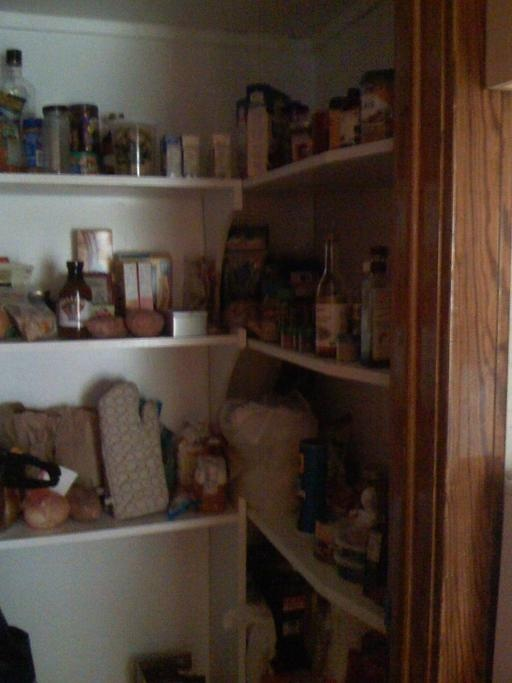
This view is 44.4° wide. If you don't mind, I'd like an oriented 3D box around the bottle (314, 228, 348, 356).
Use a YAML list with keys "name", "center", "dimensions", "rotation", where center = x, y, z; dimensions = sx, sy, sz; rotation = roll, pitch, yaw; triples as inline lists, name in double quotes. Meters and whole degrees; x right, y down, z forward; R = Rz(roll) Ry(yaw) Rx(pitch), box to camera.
- name: "bottle"
  center: [0.117, -0.077, 1.055]
  dimensions: [0.039, 0.202, 0.088]
  rotation: [-3, 7, -19]

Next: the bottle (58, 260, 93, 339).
- name: "bottle"
  center: [-0.379, -0.077, 1.310]
  dimensions: [0.067, 0.142, 0.047]
  rotation: [-4, 7, -19]

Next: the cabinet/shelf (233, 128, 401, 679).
- name: "cabinet/shelf"
  center: [0.084, 0.158, 1.133]
  dimensions: [0.126, 0.941, 0.523]
  rotation: [-4, 7, -21]

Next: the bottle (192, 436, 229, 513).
- name: "bottle"
  center: [-0.102, 0.304, 1.405]
  dimensions: [0.072, 0.179, 0.053]
  rotation: [-2, 0, 31]

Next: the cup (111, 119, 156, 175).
- name: "cup"
  center: [-0.249, -0.397, 1.279]
  dimensions: [0.069, 0.170, 0.081]
  rotation: [-1, 21, -12]

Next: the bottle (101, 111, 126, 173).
- name: "bottle"
  center: [-0.284, -0.387, 1.255]
  dimensions: [0.051, 0.091, 0.096]
  rotation: [-3, 7, -15]

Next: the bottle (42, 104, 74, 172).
- name: "bottle"
  center: [-0.393, -0.398, 1.235]
  dimensions: [0.054, 0.116, 0.106]
  rotation: [-4, 7, -19]

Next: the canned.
- name: "canned"
  center: [-0.380, -0.396, 1.259]
  dimensions: [0.153, 0.202, 0.096]
  rotation: [4, 6, 20]
